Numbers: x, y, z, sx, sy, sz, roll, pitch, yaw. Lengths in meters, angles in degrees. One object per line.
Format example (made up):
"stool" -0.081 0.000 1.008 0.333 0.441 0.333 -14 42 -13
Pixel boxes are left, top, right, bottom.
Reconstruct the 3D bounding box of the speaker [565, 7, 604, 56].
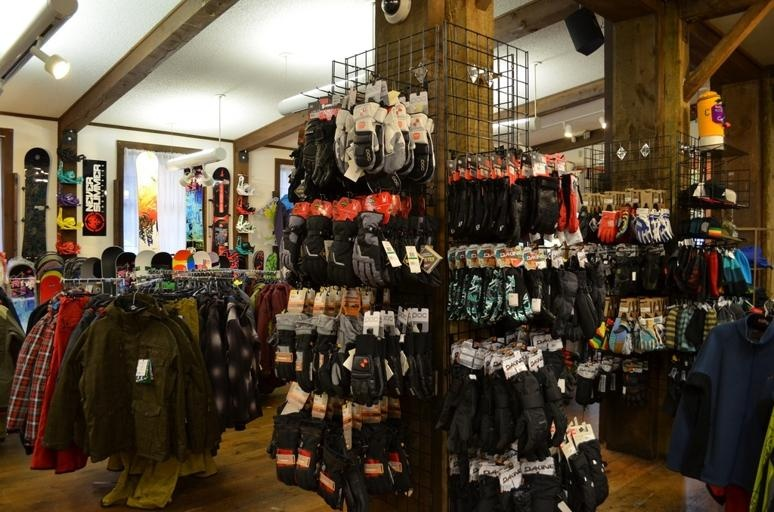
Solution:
"speaker" 2.283 -2.640 6.531 0.441 0.522 0.210 4 9 24

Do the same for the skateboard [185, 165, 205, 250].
"skateboard" -3.753 -0.899 11.177 0.460 1.997 0.320 -3 6 -25

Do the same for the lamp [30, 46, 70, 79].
"lamp" -3.633 -2.099 6.111 0.308 0.307 0.374 -6 10 -33

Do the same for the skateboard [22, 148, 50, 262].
"skateboard" -6.041 -0.884 9.777 0.475 1.964 0.327 -1 3 -34
